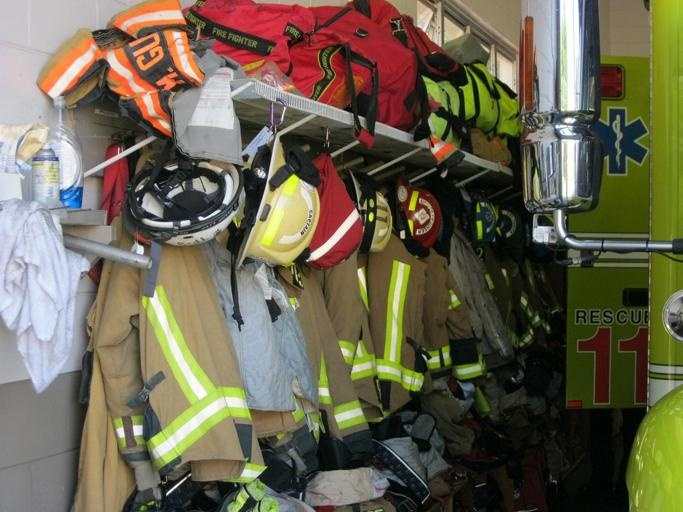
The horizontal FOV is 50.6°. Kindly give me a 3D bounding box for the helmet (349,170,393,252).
[{"bbox_3d":[0.149,-0.198,3.479,0.313,0.316,0.249,0,14,21],"label":"helmet"}]

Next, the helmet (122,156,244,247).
[{"bbox_3d":[-0.582,-0.200,2.673,0.359,0.150,0.332,-28,56,-21],"label":"helmet"}]

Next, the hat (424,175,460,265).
[{"bbox_3d":[0.613,-0.228,4.223,0.134,0.435,0.289,-2,-14,29],"label":"hat"}]

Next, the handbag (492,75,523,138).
[{"bbox_3d":[1.104,-0.932,4.760,0.096,0.237,0.295,4,31,20],"label":"handbag"}]

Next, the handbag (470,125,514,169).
[{"bbox_3d":[0.911,-0.645,4.418,0.279,0.105,0.215,29,3,-36],"label":"handbag"}]

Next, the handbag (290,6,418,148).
[{"bbox_3d":[0.060,-0.845,3.247,0.322,0.605,0.812,-2,6,33],"label":"handbag"}]

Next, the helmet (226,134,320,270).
[{"bbox_3d":[-0.263,-0.190,2.853,0.236,0.398,0.474,7,11,-24],"label":"helmet"}]

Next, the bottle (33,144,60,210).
[{"bbox_3d":[-1.021,-0.275,2.504,0.052,0.161,0.094,-2,5,28],"label":"bottle"}]
